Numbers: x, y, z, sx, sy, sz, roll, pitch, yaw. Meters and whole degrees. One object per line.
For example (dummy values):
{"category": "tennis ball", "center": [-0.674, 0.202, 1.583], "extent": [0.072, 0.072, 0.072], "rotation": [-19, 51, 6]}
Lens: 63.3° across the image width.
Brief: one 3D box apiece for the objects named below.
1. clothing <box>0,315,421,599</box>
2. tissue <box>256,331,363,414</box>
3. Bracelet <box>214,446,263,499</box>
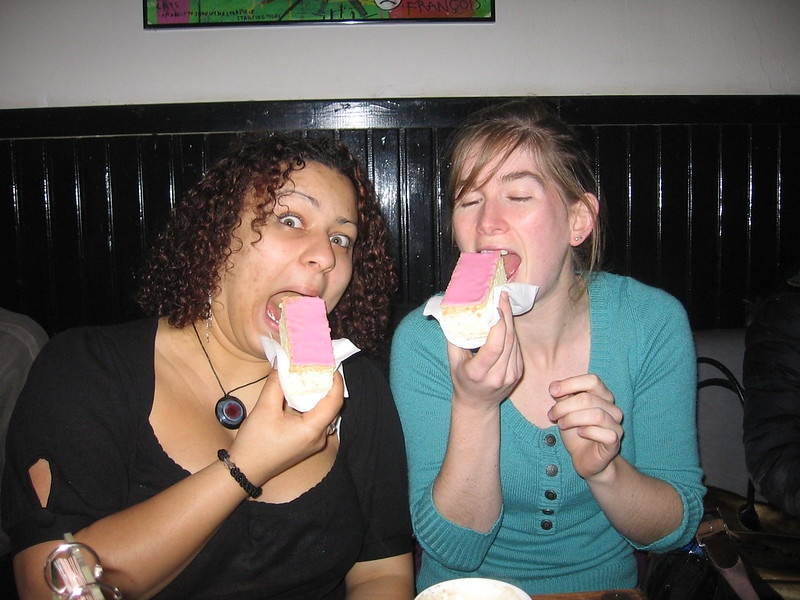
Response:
{"category": "clothing", "center": [-0.721, 0.641, 2.523], "extent": [1.170, 1.048, 0.630], "rotation": [1, -11, -18]}
{"category": "tissue", "center": [-0.404, 0.304, 2.605], "extent": [0.326, 0.311, 0.136], "rotation": [-4, -15, -25]}
{"category": "Bracelet", "center": [-0.589, 0.638, 2.425], "extent": [0.050, 0.180, 0.143], "rotation": [-48, 6, -31]}
